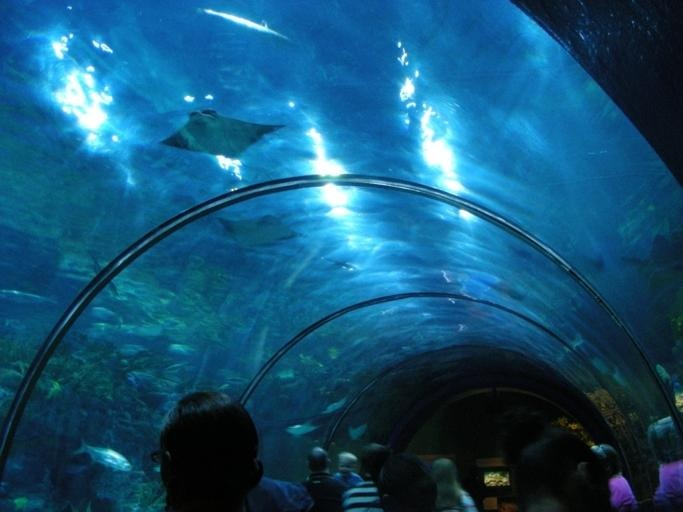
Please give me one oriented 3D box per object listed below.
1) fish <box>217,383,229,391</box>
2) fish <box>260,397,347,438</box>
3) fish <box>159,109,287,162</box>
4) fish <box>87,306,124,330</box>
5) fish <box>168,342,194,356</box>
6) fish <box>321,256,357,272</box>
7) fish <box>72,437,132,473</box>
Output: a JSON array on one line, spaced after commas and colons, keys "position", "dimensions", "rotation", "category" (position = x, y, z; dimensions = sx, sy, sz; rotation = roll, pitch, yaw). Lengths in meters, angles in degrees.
[{"position": [-1.901, 2.097, 8.712], "dimensions": [0.156, 0.082, 0.204], "rotation": [-6, -30, -1], "category": "fish"}, {"position": [-0.706, 3.089, 10.930], "dimensions": [1.379, 0.472, 0.811], "rotation": [-8, -24, -36], "category": "fish"}, {"position": [-1.227, -1.196, 5.488], "dimensions": [1.045, 0.099, 0.690], "rotation": [9, -33, -25], "category": "fish"}, {"position": [-2.889, 0.768, 6.731], "dimensions": [0.120, 0.255, 0.549], "rotation": [-2, -24, 39], "category": "fish"}, {"position": [-2.293, 1.327, 7.715], "dimensions": [0.146, 0.115, 0.405], "rotation": [-22, -34, 24], "category": "fish"}, {"position": [-0.040, 0.128, 7.995], "dimensions": [0.687, 0.020, 0.277], "rotation": [14, -36, -32], "category": "fish"}, {"position": [-3.174, 2.689, 7.266], "dimensions": [0.871, 0.359, 0.207], "rotation": [36, -20, -34], "category": "fish"}]
